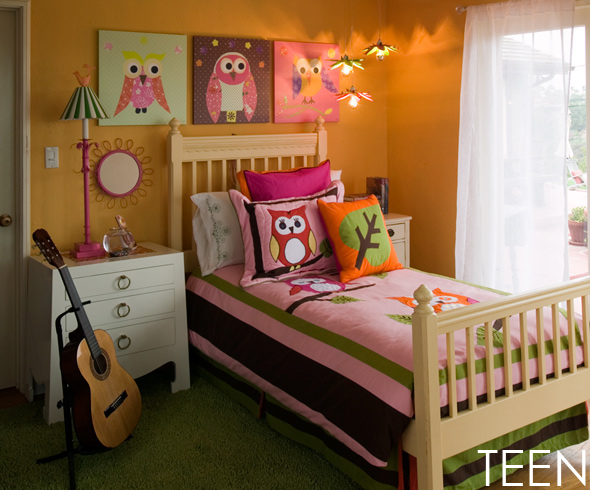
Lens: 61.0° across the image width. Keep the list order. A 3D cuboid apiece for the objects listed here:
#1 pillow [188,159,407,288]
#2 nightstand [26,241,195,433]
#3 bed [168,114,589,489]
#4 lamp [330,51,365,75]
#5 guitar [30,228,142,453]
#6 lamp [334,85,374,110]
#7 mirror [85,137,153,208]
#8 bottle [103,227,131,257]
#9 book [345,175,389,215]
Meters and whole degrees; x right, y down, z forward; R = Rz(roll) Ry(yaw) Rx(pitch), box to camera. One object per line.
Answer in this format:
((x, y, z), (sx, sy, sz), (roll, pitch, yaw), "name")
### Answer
((-0.039, -0.117, 3.020), (0.667, 0.743, 0.201), (-8, -4, -32), "pillow")
((-1.019, 0.423, 2.886), (0.749, 0.808, 0.463), (-4, 12, -30), "nightstand")
((0.443, 0.042, 3.015), (1.342, 1.991, 2.362), (-7, 9, -37), "bed")
((0.378, -1.329, 3.686), (0.208, 0.157, 0.220), (3, 7, 32), "lamp")
((-0.890, 0.461, 2.227), (0.400, 1.062, 0.304), (-6, 11, -30), "guitar")
((0.461, -1.147, 3.831), (0.272, 0.166, 0.471), (1, 12, 9), "lamp")
((-1.080, -0.454, 3.034), (0.358, 0.434, 0.018), (-4, 4, -18), "mirror")
((-0.981, -0.025, 2.783), (0.138, 0.152, 0.138), (-2, 3, -42), "bottle")
((0.581, -0.351, 3.969), (0.242, 0.392, 0.365), (-1, 1, -5), "book")
